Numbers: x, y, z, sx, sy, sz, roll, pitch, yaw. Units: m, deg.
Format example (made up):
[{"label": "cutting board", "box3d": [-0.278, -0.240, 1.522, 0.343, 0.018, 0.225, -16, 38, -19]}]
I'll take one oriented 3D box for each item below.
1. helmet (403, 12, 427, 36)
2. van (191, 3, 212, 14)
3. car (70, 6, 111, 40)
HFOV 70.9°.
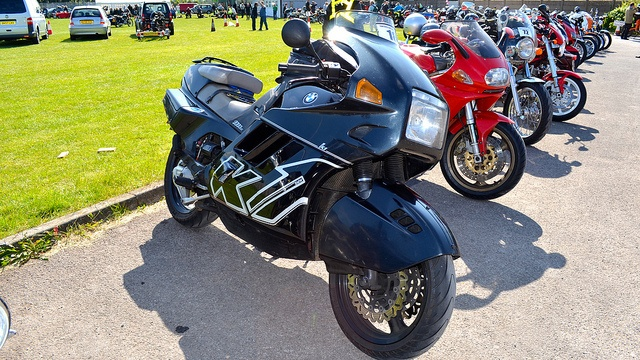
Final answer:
[{"label": "helmet", "box3d": [1.662, -2.753, 7.891, 0.333, 0.358, 0.460, 1, 32, 4]}, {"label": "van", "box3d": [-18.687, -27.004, 70.048, 3.060, 1.608, 2.122, 2, 43, -7]}, {"label": "car", "box3d": [-12.926, -8.742, 25.073, 2.072, 1.764, 1.570, -20, 35, -31]}]
